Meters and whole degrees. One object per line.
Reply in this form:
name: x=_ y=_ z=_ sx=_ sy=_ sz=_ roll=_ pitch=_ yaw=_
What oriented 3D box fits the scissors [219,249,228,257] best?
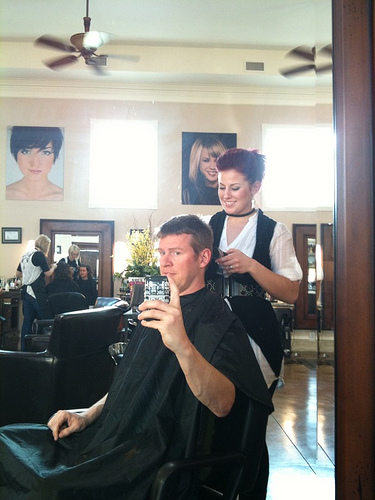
scissors: x=0.132 y=0.013 z=1.502 sx=0.031 sy=0.031 sz=0.028 roll=1 pitch=-1 yaw=36

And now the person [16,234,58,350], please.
person: x=-0.964 y=0.264 z=2.603 sx=0.255 sy=0.725 sz=0.222 roll=6 pitch=11 yaw=11

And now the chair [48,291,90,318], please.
chair: x=-0.728 y=0.358 z=2.522 sx=0.150 sy=0.209 sz=0.168 roll=4 pitch=-24 yaw=-23

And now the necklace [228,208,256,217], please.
necklace: x=0.208 y=-0.142 z=1.559 sx=0.102 sy=0.033 sz=0.009 roll=0 pitch=1 yaw=10

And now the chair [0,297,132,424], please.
chair: x=-0.716 y=0.521 z=2.143 sx=0.581 sy=0.679 sz=0.489 roll=0 pitch=-4 yaw=19

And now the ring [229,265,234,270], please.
ring: x=0.158 y=0.064 z=1.466 sx=0.012 sy=0.016 sz=0.004 roll=1 pitch=3 yaw=-1

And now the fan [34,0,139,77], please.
fan: x=-0.600 y=-1.258 z=2.496 sx=0.597 sy=0.238 sz=0.700 roll=-1 pitch=1 yaw=-6
